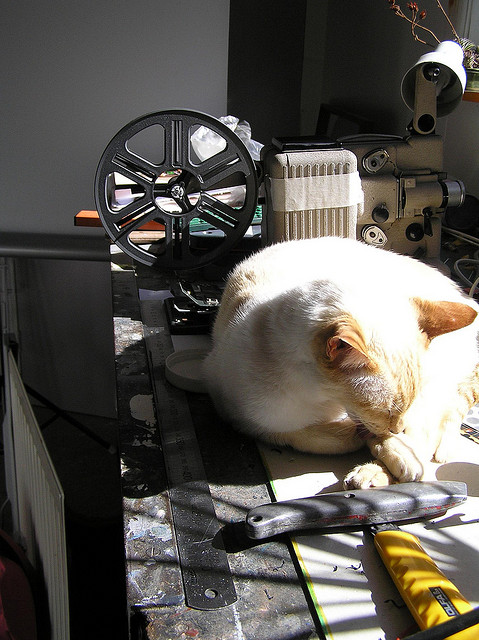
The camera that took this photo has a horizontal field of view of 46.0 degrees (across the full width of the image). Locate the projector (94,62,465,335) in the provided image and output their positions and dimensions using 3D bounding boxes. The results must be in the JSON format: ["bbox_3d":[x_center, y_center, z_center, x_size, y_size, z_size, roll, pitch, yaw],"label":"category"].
[{"bbox_3d":[0.103,-0.254,1.117,0.756,0.446,0.252,-7,19,-12],"label":"projector"}]

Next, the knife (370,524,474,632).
[{"bbox_3d":[0.154,0.230,0.507,0.051,0.027,0.162,-2,10,-4],"label":"knife"}]

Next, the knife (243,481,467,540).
[{"bbox_3d":[0.131,0.208,0.608,0.215,0.029,0.034,-4,-4,-13],"label":"knife"}]

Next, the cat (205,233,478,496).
[{"bbox_3d":[0.169,0.036,0.811,0.384,0.222,0.439,-11,24,-31],"label":"cat"}]
